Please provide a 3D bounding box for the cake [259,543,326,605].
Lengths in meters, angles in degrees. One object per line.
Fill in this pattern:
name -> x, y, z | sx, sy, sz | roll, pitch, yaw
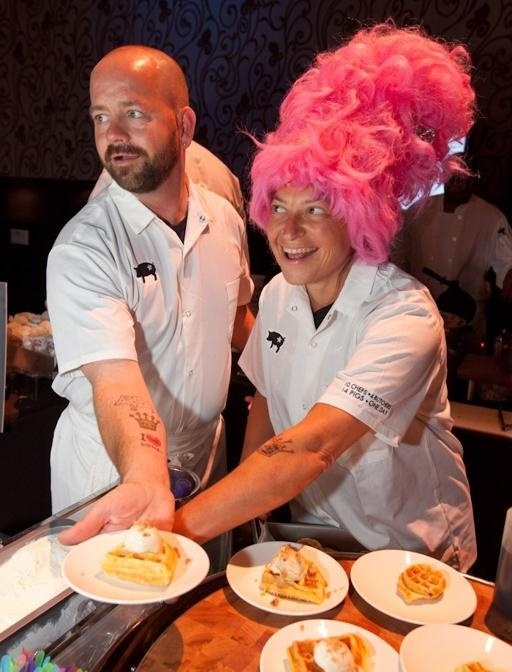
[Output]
cake -> 0.070, 0.389, 0.874 | 0.078, 0.031, 0.079 | 6, 19, 14

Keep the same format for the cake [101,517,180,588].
cake -> -0.162, 0.310, 0.777 | 0.131, 0.056, 0.127 | -1, 7, -29
